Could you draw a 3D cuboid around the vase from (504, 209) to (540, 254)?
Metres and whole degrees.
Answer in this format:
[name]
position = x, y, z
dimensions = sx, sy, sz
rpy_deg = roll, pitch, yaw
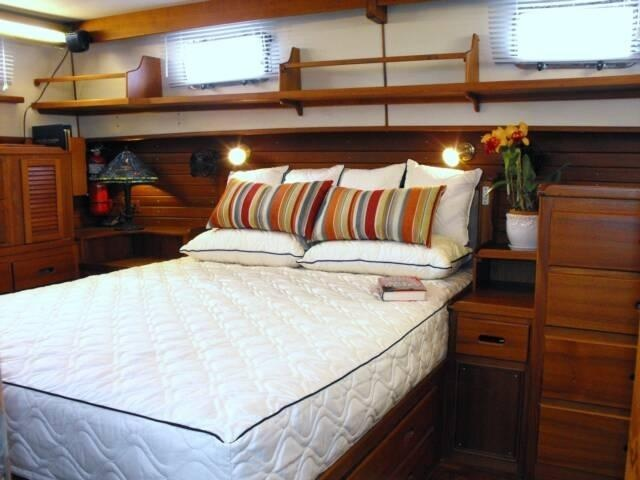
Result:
[vase]
position = 1.047, -0.048, 2.698
dimensions = 0.221, 0.207, 0.204
rpy_deg = 1, 2, 3

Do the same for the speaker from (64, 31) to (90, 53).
[speaker]
position = -2.081, -1.703, 4.212
dimensions = 0.193, 0.165, 0.164
rpy_deg = 5, 26, 5

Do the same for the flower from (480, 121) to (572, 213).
[flower]
position = 1.174, -0.472, 3.040
dimensions = 0.662, 0.601, 0.503
rpy_deg = 9, 21, 41
